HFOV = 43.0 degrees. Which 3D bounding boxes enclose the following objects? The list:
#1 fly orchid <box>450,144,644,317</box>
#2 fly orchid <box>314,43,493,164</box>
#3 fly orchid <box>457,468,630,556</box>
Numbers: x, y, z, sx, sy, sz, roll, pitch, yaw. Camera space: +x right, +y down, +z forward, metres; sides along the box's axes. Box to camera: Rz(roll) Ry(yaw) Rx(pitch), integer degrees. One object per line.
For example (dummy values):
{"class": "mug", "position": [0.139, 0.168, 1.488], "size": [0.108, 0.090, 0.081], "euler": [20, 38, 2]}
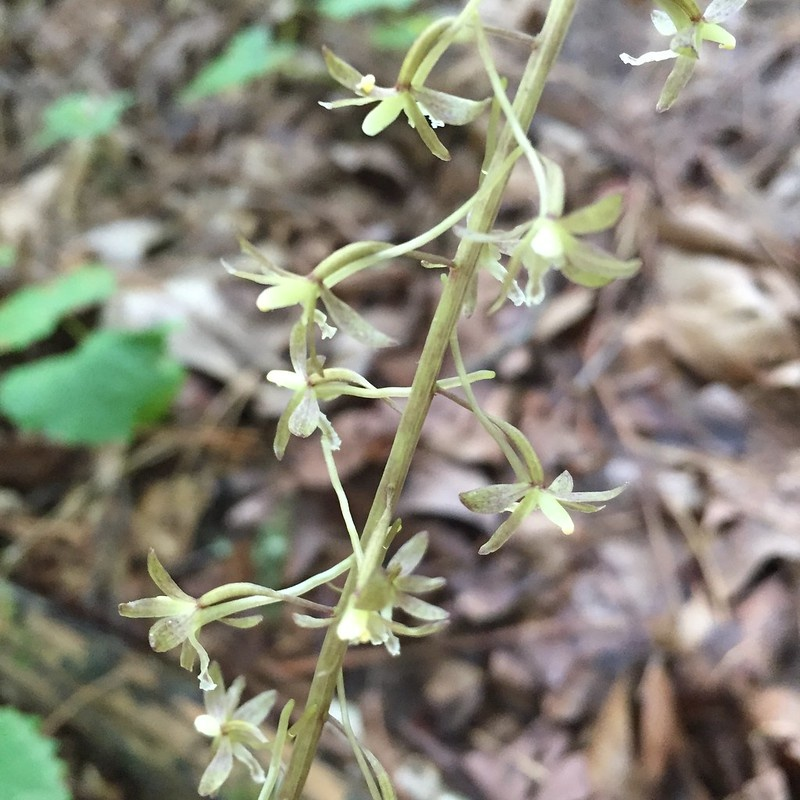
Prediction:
{"class": "fly orchid", "position": [0.182, -0.193, 1.180], "size": [0.283, 0.093, 0.198], "euler": [4, -57, 21]}
{"class": "fly orchid", "position": [0.028, -0.394, 1.349], "size": [0.241, 0.072, 0.202], "euler": [13, -25, 7]}
{"class": "fly orchid", "position": [0.178, 0.129, 1.301], "size": [0.186, 0.162, 0.053], "euler": [7, -69, 35]}
